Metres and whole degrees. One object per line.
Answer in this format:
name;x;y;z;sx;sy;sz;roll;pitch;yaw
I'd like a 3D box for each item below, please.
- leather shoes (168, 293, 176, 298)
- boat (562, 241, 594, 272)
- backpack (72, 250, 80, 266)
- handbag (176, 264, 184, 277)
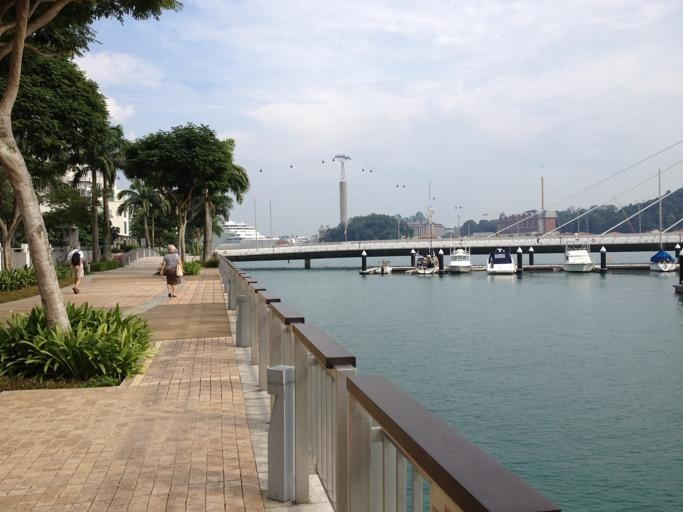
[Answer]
leather shoes;-6.920;1.603;27.598;0.131;0.182;0.405;2;6;12
boat;32.026;0.367;92.246;2.981;4.604;11.941;-2;-3;9
backpack;-11.673;0.110;29.570;0.457;0.679;0.252;13;5;40
handbag;-6.701;0.594;27.860;0.244;0.625;0.598;-2;-3;1
